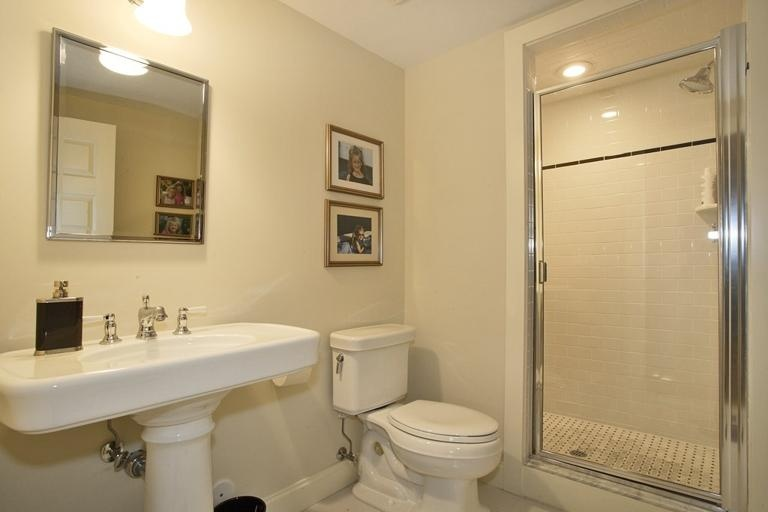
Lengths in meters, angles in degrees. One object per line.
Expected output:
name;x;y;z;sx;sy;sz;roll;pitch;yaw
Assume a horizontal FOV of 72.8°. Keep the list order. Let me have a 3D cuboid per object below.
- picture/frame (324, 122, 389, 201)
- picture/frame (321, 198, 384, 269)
picture/frame;-0.198;-0.613;3.346;0.042;0.463;0.550;-3;-5;45
picture/frame;-0.224;-0.147;3.318;0.033;0.393;0.457;-3;-4;43
